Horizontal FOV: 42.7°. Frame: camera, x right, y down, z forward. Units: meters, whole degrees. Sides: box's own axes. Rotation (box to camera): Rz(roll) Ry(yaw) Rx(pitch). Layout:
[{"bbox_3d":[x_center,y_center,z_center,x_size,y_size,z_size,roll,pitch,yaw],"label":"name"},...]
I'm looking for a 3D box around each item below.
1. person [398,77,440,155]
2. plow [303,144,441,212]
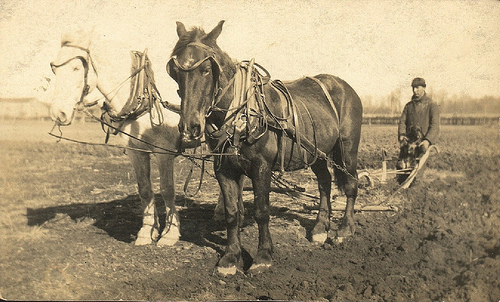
[{"bbox_3d":[3.707,-0.779,14.044,0.536,1.647,0.832,-6,14,-45],"label":"person"},{"bbox_3d":[3.190,0.513,14.256,2.316,0.794,0.809,-27,5,-39],"label":"plow"}]
